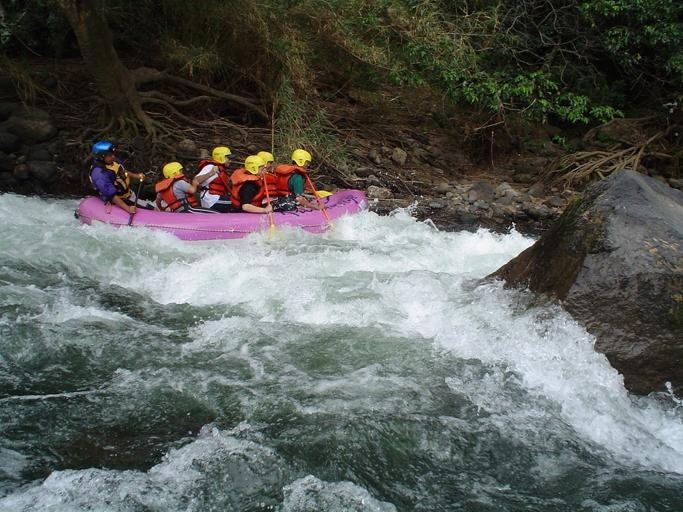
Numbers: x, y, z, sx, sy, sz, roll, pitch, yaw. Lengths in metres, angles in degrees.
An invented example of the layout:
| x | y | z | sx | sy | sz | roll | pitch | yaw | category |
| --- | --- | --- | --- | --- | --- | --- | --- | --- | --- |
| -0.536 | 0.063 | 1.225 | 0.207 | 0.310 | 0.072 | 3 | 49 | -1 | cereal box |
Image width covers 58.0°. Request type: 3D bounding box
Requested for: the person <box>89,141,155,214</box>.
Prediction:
| x | y | z | sx | sy | sz | roll | pitch | yaw | category |
| --- | --- | --- | --- | --- | --- | --- | --- | --- | --- |
| -3.815 | -1.331 | 10.670 | 1.379 | 1.869 | 0.899 | -3 | 70 | -12 | person |

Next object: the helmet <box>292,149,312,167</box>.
| x | y | z | sx | sy | sz | roll | pitch | yaw | category |
| --- | --- | --- | --- | --- | --- | --- | --- | --- | --- |
| -0.719 | -1.712 | 10.646 | 0.516 | 0.267 | 0.274 | -3 | 28 | -2 | helmet |

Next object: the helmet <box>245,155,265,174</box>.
| x | y | z | sx | sy | sz | roll | pitch | yaw | category |
| --- | --- | --- | --- | --- | --- | --- | --- | --- | --- |
| -1.426 | -1.508 | 10.091 | 0.461 | 0.265 | 0.256 | 1 | 45 | -6 | helmet |

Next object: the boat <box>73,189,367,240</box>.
| x | y | z | sx | sy | sz | roll | pitch | yaw | category |
| --- | --- | --- | --- | --- | --- | --- | --- | --- | --- |
| -1.744 | -0.571 | 9.757 | 3.659 | 0.395 | 1.448 | -2 | 12 | -18 | boat |

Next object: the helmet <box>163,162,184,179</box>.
| x | y | z | sx | sy | sz | roll | pitch | yaw | category |
| --- | --- | --- | --- | --- | --- | --- | --- | --- | --- |
| -2.757 | -1.356 | 10.019 | 0.267 | 0.355 | 0.343 | 6 | 41 | -13 | helmet |
